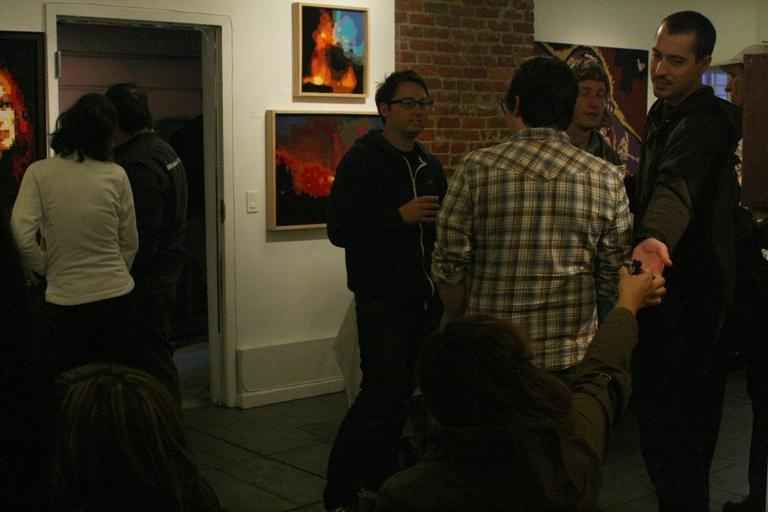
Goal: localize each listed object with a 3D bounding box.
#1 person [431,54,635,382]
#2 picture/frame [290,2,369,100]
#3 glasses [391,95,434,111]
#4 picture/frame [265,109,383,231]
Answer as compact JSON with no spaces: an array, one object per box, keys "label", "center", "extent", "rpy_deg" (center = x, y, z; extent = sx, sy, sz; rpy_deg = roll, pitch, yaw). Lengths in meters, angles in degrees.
[{"label":"person","center":[0.473,0.096,2.019],"extent":[0.615,1.341,0.353],"rpy_deg":[4,19,12]},{"label":"picture/frame","center":[-0.174,-0.630,1.908],"extent":[0.336,0.329,0.037],"rpy_deg":[0,8,-19]},{"label":"glasses","center":[0.088,-0.474,1.967],"extent":[0.141,0.036,0.035],"rpy_deg":[-7,16,-27]},{"label":"picture/frame","center":[-0.199,-0.283,1.967],"extent":[0.390,0.291,0.037],"rpy_deg":[-7,14,-30]}]
